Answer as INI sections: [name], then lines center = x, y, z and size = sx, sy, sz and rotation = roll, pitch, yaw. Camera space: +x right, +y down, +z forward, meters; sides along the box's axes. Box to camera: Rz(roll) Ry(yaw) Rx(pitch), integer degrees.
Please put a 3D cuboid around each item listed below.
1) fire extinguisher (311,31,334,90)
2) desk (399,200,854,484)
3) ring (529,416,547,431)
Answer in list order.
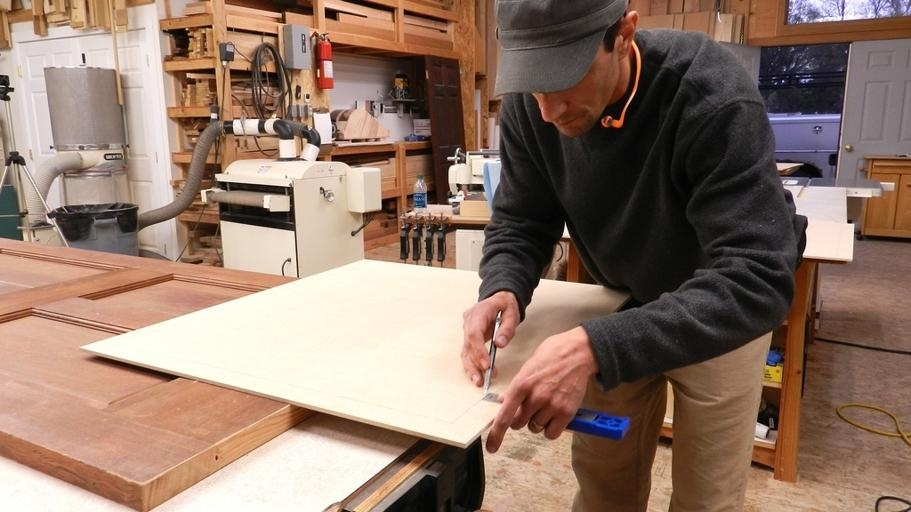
[fire extinguisher]
center = -1.437, -2.135, 6.191
size = 0.219, 0.594, 0.172
rotation = -10, 15, -35
[desk]
center = 1.691, 0.352, 3.851
size = 2.278, 1.119, 2.325
rotation = 3, 5, 33
[ring]
center = 0.248, 0.513, 1.733
size = 0.052, 0.041, 0.038
rotation = -5, 14, 27
